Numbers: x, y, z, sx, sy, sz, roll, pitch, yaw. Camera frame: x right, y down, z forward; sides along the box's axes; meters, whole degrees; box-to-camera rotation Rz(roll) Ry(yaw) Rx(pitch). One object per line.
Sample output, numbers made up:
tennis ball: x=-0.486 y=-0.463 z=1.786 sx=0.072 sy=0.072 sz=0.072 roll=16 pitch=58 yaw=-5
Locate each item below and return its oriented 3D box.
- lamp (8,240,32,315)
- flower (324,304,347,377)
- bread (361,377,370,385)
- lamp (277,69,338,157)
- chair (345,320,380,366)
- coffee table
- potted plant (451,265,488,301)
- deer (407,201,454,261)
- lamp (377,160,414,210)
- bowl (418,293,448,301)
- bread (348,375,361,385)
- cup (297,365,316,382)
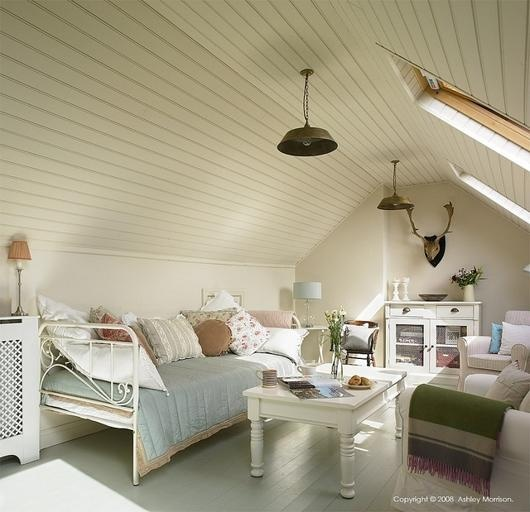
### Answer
lamp: x=-1.733 y=0.129 z=2.817 sx=0.144 sy=0.562 sz=0.305 roll=5 pitch=-8 yaw=-29
flower: x=0.527 y=0.645 z=3.036 sx=0.136 sy=0.505 sz=0.400 roll=-1 pitch=-7 yaw=10
bread: x=0.656 y=0.817 z=2.643 sx=0.041 sy=0.044 sz=0.026 roll=-21 pitch=-30 yaw=6
lamp: x=0.281 y=-0.971 z=2.701 sx=0.475 sy=0.466 sz=0.463 roll=4 pitch=6 yaw=39
chair: x=1.254 y=1.148 z=5.296 sx=0.433 sy=0.573 sz=0.722 roll=-1 pitch=-7 yaw=15
coffee table: x=0.311 y=0.837 z=2.547 sx=0.701 sy=0.439 sz=1.109 roll=-2 pitch=-3 yaw=29
potted plant: x=2.578 y=0.357 z=5.276 sx=0.466 sy=0.471 sz=0.486 roll=5 pitch=-7 yaw=-9
deer: x=2.310 y=-0.304 z=5.620 sx=0.601 sy=0.895 sz=0.205 roll=-3 pitch=-8 yaw=24
lamp: x=1.479 y=-0.838 z=4.623 sx=0.361 sy=0.502 sz=0.355 roll=2 pitch=6 yaw=36
bowl: x=2.244 y=0.550 z=5.400 sx=0.364 sy=0.123 sz=0.462 roll=-2 pitch=-7 yaw=20
bread: x=0.583 y=0.802 z=2.629 sx=0.065 sy=0.052 sz=0.020 roll=7 pitch=8 yaw=-3
cup: x=0.308 y=0.860 z=2.973 sx=0.109 sy=0.070 sz=0.079 roll=1 pitch=-3 yaw=-2
